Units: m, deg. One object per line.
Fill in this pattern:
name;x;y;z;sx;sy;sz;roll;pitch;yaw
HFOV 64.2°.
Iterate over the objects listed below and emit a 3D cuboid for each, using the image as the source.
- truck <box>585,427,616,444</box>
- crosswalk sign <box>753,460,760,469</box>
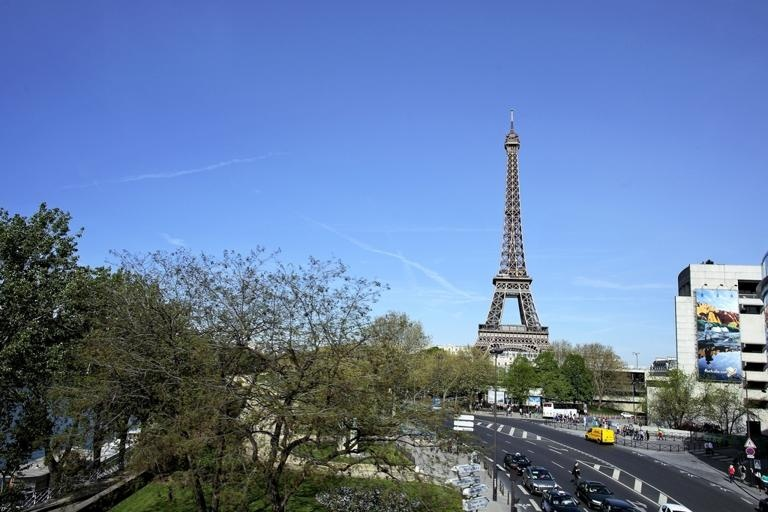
truck;28.786;23.753;80.901;1.902;1.938;4.147;4;-8;-15
crosswalk sign;35.033;19.569;57.415;0.338;0.708;0.620;-2;-9;26
